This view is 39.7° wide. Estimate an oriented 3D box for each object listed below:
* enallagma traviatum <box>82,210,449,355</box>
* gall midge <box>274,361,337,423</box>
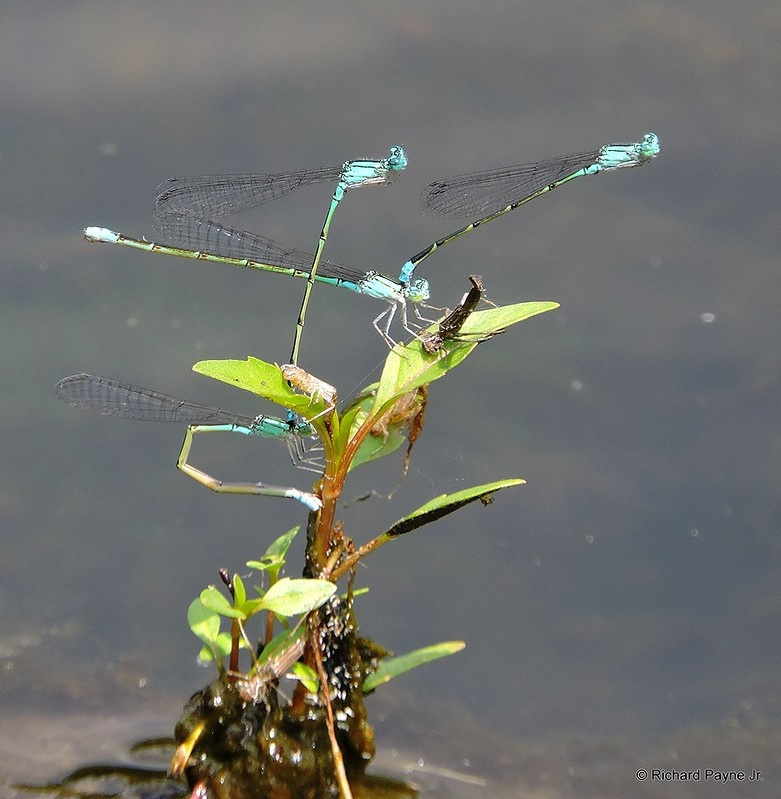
[{"bbox_3d":[-0.607,-0.569,4.887,1.788,0.404,0.492,10,-7,4],"label":"enallagma traviatum"},{"bbox_3d":[-0.321,-0.023,4.130,0.239,0.177,0.095,29,40,31],"label":"gall midge"}]
